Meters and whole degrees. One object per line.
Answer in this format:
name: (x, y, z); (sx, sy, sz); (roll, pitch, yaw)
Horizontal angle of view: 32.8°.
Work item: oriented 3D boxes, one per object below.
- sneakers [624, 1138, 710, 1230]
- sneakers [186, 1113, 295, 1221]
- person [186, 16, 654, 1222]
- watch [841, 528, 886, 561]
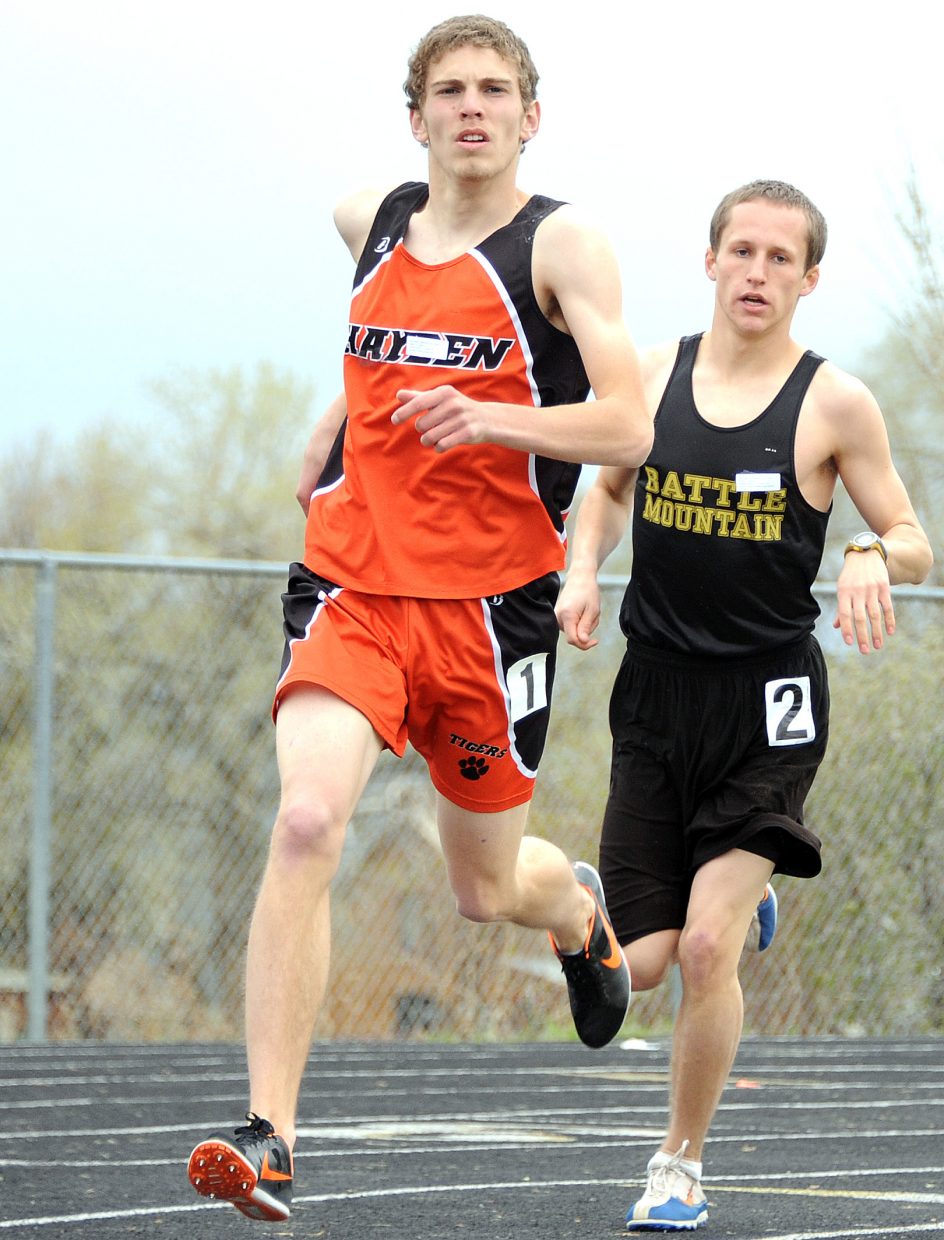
sneakers: (0.314, 0.927, 2.582); (0.068, 0.077, 0.185); (-2, -9, 21)
sneakers: (-0.279, 0.664, 1.966); (0.074, 0.092, 0.205); (-2, -26, 24)
person: (-0.007, -0.099, 2.404); (0.568, 1.720, 0.807); (3, 1, -3)
watch: (0.688, -0.130, 2.781); (0.061, 0.062, 0.066); (6, 0, -4)
